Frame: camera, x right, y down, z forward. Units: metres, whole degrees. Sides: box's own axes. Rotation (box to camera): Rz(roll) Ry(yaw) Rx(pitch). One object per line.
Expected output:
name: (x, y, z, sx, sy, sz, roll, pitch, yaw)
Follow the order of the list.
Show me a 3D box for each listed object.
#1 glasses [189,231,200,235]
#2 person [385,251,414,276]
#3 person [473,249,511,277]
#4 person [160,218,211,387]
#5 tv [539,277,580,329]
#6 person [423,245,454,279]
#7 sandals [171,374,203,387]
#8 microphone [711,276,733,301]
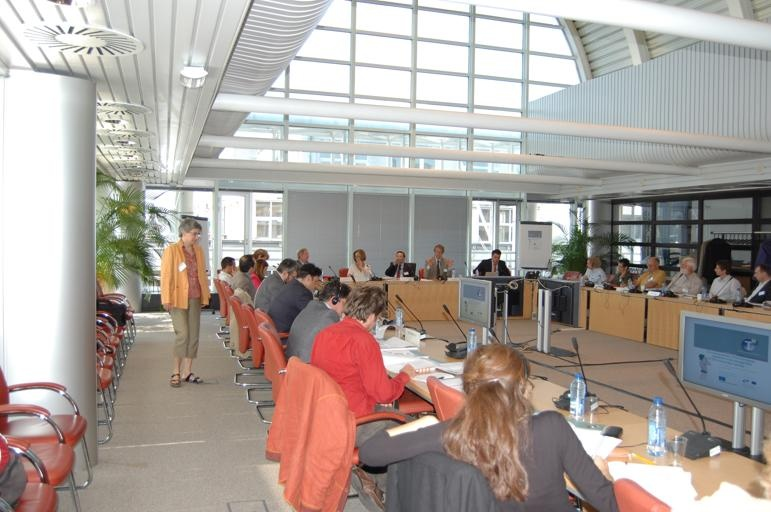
glasses: (-2.407, -0.293, 6.570, 0.086, 0.062, 0.402, -1, 6, -17)
person: (0.307, 0.180, 11.146, 0.538, 0.553, 1.011, 0, 6, -4)
person: (2.495, 0.160, 12.434, 0.665, 0.990, 0.344, 1, -7, 0)
person: (-2.504, 0.575, 6.475, 0.577, 2.067, 0.318, -4, 8, -37)
tv: (3.145, 0.844, 9.305, 0.482, 0.871, 0.942, -2, 2, -21)
person: (1.149, 0.413, 11.337, 0.554, 1.328, 0.457, -1, 18, -2)
sandals: (-2.532, 1.566, 6.604, 0.342, 0.091, 0.171, 0, 2, -42)
microphone: (5.707, 0.553, 8.772, 0.187, 0.280, 0.324, 18, -8, 0)
